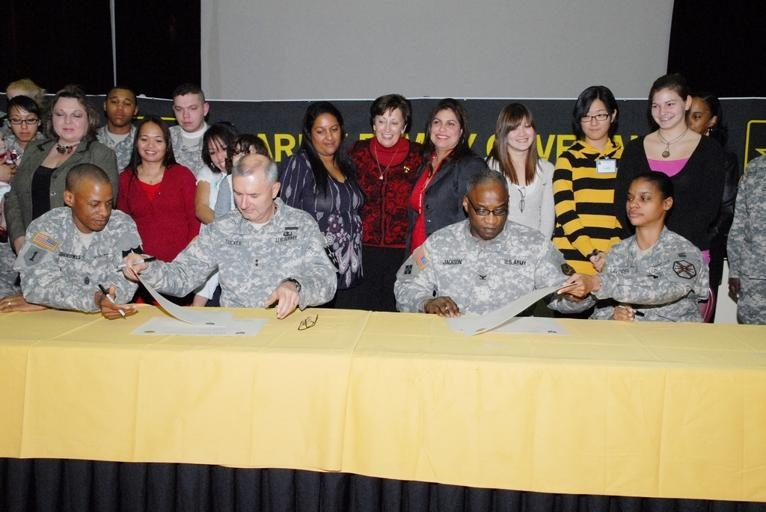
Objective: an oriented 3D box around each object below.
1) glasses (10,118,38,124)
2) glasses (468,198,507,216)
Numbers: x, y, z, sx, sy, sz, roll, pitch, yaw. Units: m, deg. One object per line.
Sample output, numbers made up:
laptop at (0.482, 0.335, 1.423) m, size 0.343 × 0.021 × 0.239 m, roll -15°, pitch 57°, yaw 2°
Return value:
glasses at (-3.001, -1.129, 5.816) m, size 0.195 × 0.047 × 0.048 m, roll -4°, pitch 10°, yaw -29°
glasses at (0.676, -0.324, 4.570) m, size 0.280 × 0.112 × 0.137 m, roll 3°, pitch 9°, yaw 16°
